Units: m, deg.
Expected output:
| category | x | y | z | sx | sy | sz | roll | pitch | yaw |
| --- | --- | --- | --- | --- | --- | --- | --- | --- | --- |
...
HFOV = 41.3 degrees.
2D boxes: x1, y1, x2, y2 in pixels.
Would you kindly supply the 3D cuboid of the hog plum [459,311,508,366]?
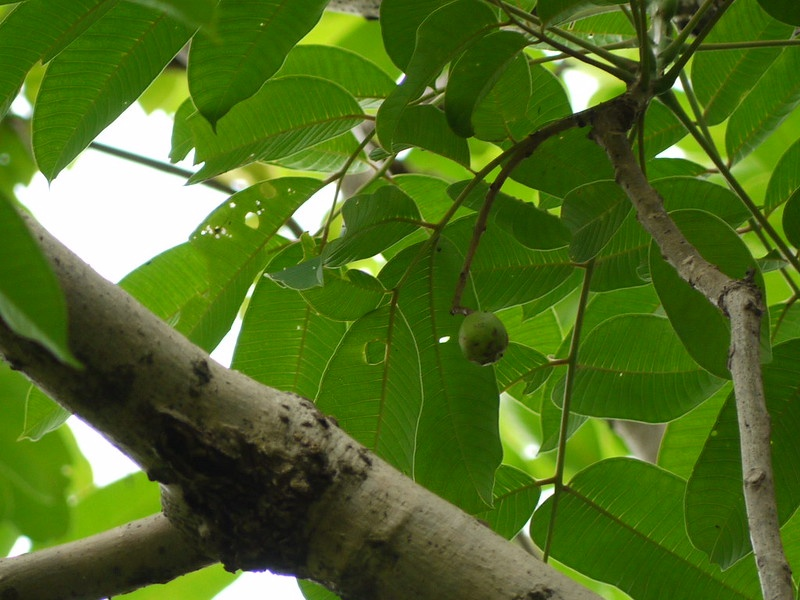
| category | x | y | z | sx | sy | sz | roll | pitch | yaw |
| --- | --- | --- | --- | --- | --- | --- | --- | --- | --- |
| hog plum | 0.160 | 0.077 | 2.110 | 0.065 | 0.072 | 0.090 | -7 | -68 | 60 |
